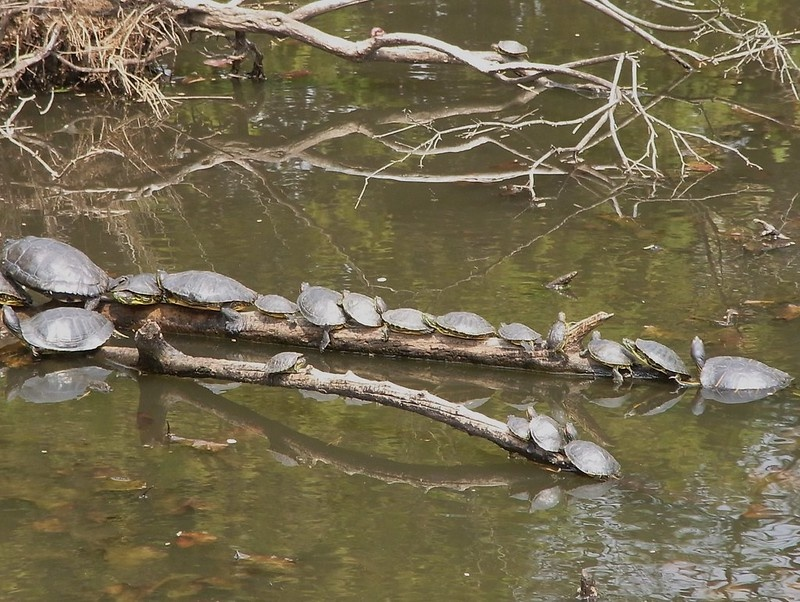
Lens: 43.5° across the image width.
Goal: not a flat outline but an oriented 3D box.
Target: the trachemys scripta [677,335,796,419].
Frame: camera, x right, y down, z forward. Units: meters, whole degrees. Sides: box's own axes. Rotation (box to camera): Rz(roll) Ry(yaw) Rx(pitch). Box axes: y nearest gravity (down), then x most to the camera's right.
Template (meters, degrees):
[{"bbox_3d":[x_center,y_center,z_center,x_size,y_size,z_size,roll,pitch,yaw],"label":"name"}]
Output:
[{"bbox_3d":[3.750,0.851,11.220,1.128,0.506,0.625,10,34,17],"label":"trachemys scripta"}]

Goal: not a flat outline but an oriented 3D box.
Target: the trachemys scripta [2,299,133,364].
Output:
[{"bbox_3d":[-3.969,0.337,11.737,1.151,0.589,0.606,-9,35,-14],"label":"trachemys scripta"}]
